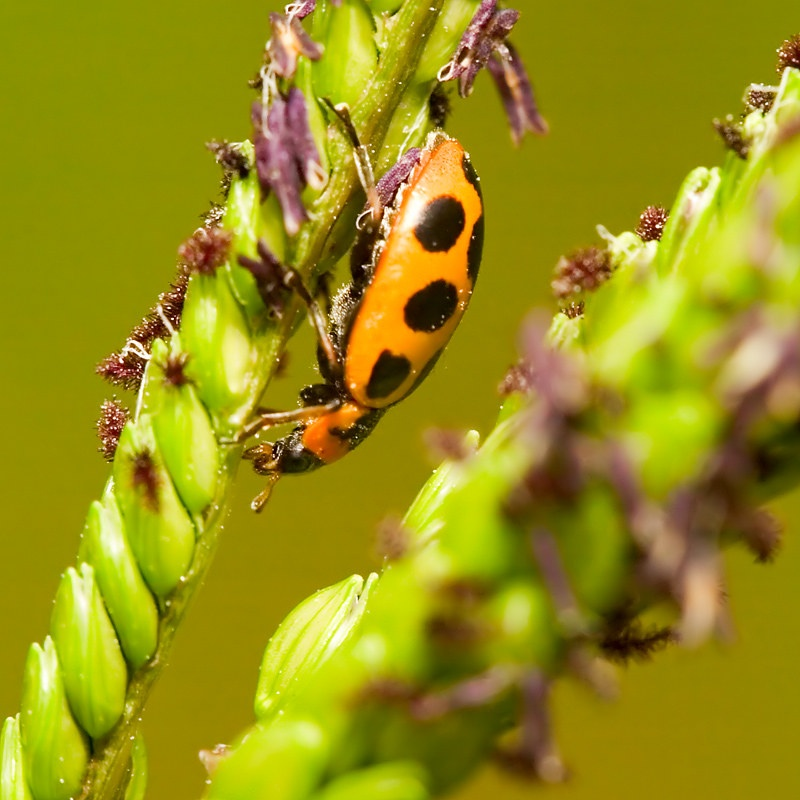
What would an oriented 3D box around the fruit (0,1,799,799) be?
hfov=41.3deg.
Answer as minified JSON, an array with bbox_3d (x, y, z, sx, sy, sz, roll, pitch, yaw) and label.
[{"bbox_3d":[0.030,0.040,0.577,0.253,0.470,0.099,2,-5,-10],"label":"fruit"}]

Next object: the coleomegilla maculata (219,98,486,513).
[{"bbox_3d":[-0.012,-0.059,0.740,0.091,0.227,0.295,30,-79,-5],"label":"coleomegilla maculata"}]
